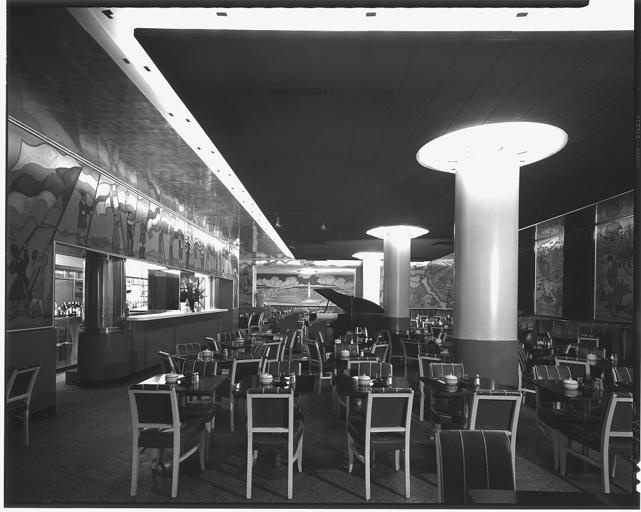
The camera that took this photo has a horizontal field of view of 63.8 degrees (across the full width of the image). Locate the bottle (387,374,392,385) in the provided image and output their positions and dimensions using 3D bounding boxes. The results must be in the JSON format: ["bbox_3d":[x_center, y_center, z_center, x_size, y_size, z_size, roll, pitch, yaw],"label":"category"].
[{"bbox_3d":[0.791,1.438,5.943,0.049,0.095,0.051,1,4,0],"label":"bottle"}]

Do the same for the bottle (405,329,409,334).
[{"bbox_3d":[2.159,1.873,12.740,0.089,0.190,0.095,1,-1,0],"label":"bottle"}]

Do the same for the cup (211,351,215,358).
[{"bbox_3d":[-1.595,1.451,7.609,0.050,0.072,0.064,5,12,18],"label":"cup"}]

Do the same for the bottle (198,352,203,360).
[{"bbox_3d":[-1.743,1.462,7.493,0.084,0.151,0.084,1,3,0],"label":"bottle"}]

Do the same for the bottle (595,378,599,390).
[{"bbox_3d":[3.132,1.455,5.835,0.062,0.091,0.042,1,-5,-15],"label":"bottle"}]

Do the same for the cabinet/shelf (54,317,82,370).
[{"bbox_3d":[-4.973,1.691,10.139,0.189,1.026,0.820,0,4,1],"label":"cabinet/shelf"}]
